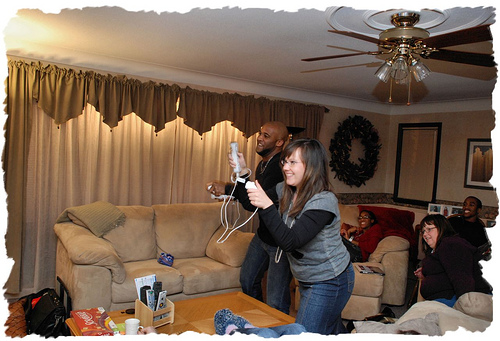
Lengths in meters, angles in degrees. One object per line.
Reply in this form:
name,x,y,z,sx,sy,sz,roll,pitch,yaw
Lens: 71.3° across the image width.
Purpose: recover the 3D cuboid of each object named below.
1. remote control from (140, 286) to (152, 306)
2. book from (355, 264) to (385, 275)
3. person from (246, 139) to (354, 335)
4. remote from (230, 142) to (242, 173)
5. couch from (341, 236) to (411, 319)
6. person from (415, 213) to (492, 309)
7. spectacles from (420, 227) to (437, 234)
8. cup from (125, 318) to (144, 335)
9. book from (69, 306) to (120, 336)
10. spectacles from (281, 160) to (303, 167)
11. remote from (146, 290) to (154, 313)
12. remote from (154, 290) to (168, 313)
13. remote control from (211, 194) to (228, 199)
remote control,-0.877,1.045,2.917,0.084,0.128,0.106,4,3,-11
book,1.440,1.204,4.218,0.313,0.033,0.236,5,2,5
person,0.397,0.517,2.481,0.794,1.471,0.522,5,3,4
remote,-0.115,-0.109,3.021,0.093,0.265,0.205,5,3,10
couch,1.593,1.385,4.447,1.086,0.819,1.134,-1,-4,13
person,1.880,0.841,3.241,0.493,0.713,0.758,6,3,19
spectacles,1.825,0.615,3.609,0.074,0.063,0.170,4,2,-11
cup,-0.884,1.182,2.645,0.133,0.122,0.088,3,-8,-9
book,-1.251,1.229,2.816,0.248,0.078,0.426,2,3,-42
spectacles,0.264,-0.051,2.475,0.112,0.042,0.026,6,4,42
remote,-0.820,1.068,2.869,0.065,0.162,0.043,3,4,-21
remote,-0.738,1.085,2.890,0.105,0.154,0.085,3,3,-21
remote control,-0.297,0.252,3.386,0.153,0.061,0.050,-1,0,11
